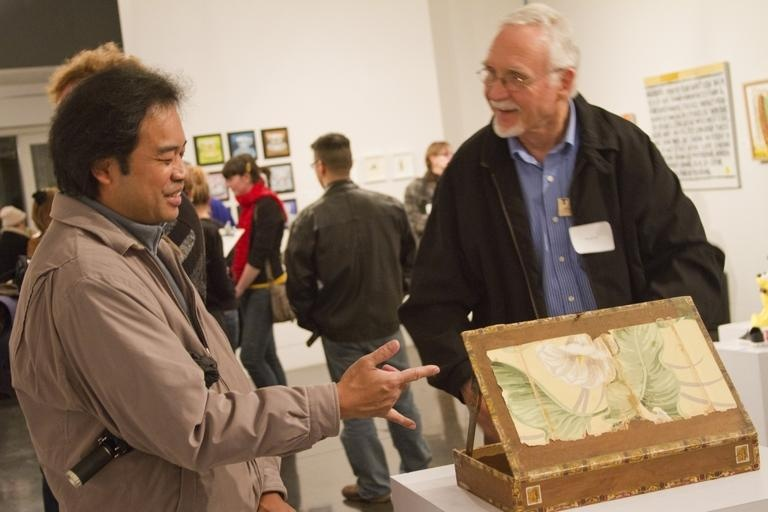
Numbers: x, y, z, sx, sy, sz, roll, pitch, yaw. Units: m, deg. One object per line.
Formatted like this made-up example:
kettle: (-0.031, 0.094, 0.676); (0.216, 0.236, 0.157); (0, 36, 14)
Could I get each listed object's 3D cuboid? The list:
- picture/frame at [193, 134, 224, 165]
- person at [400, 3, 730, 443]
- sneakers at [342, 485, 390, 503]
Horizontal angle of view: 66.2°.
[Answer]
picture/frame: (-2.009, -1.238, 6.742); (0.402, 0.423, 0.042); (-5, 6, -20)
person: (0.637, -0.249, 2.285); (1.217, 1.487, 0.392); (-5, 4, -1)
sneakers: (-0.145, 1.815, 4.448); (0.350, 0.151, 0.131); (-4, -2, 30)
